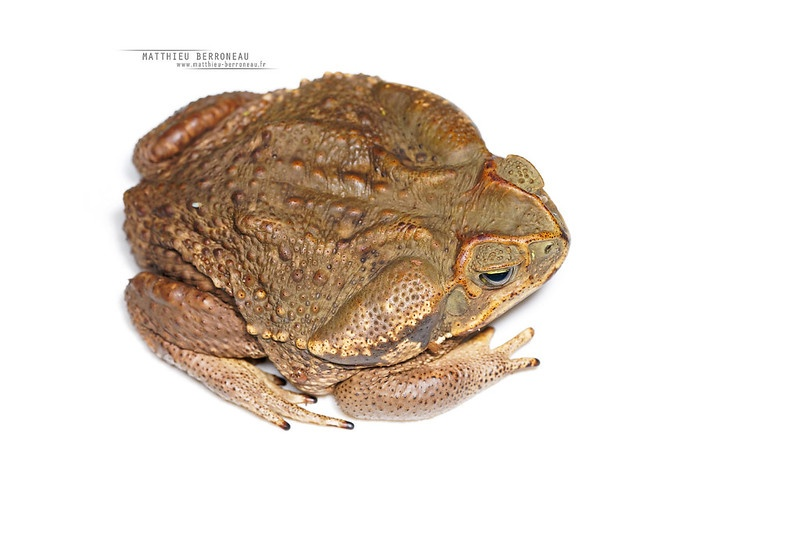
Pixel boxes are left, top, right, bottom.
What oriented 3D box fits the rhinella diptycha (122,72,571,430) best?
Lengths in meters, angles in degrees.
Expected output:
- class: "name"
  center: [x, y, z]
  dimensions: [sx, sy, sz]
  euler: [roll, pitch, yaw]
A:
- class: "rhinella diptycha"
  center: [-0.396, -0.349, 5.743]
  dimensions: [3.366, 2.682, 0.963]
  euler: [19, -22, 9]
